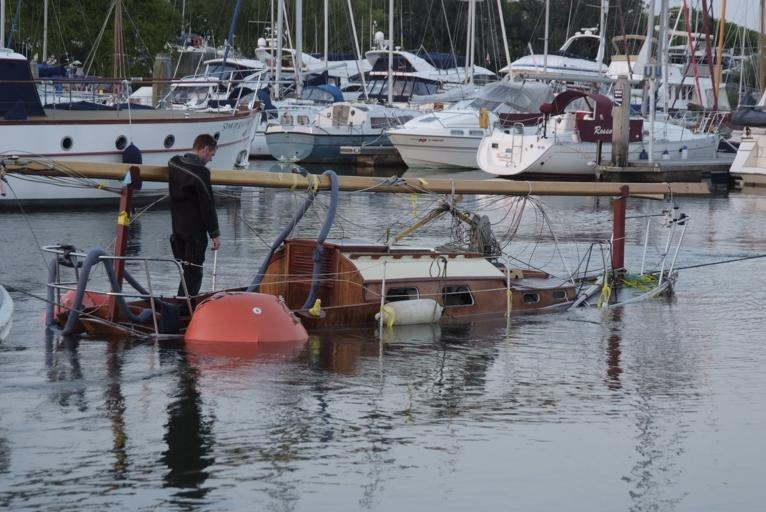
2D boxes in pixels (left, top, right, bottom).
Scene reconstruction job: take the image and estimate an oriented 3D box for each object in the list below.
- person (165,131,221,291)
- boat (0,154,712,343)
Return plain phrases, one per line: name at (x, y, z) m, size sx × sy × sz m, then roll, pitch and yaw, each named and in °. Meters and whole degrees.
person at (-3.216, -0.682, 21.640) m, size 0.811 × 2.709 × 0.559 m, roll -2°, pitch 6°, yaw -8°
boat at (-0.792, 0.215, 23.187) m, size 14.066 × 3.008 × 4.166 m, roll 0°, pitch 6°, yaw -17°
